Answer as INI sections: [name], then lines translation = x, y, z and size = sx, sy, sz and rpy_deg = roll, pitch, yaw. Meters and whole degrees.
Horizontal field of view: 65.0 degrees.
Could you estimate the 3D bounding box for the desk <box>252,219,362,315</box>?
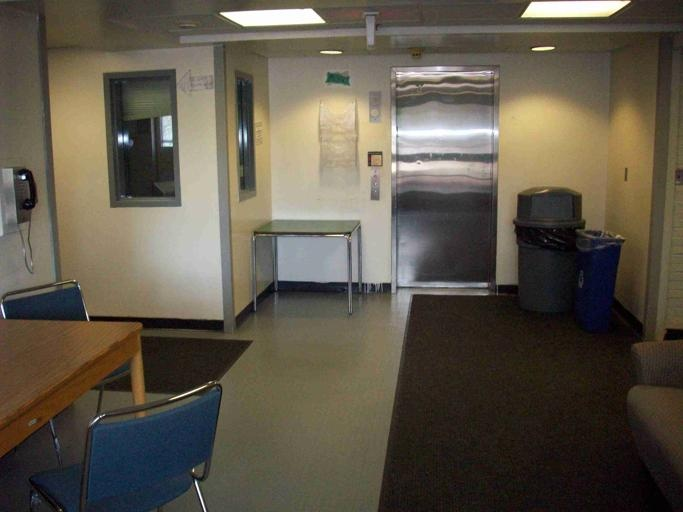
[desk]
translation = -0.325, 0.023, 6.492
size = 1.048, 0.918, 1.206
rpy_deg = 1, 8, 7
